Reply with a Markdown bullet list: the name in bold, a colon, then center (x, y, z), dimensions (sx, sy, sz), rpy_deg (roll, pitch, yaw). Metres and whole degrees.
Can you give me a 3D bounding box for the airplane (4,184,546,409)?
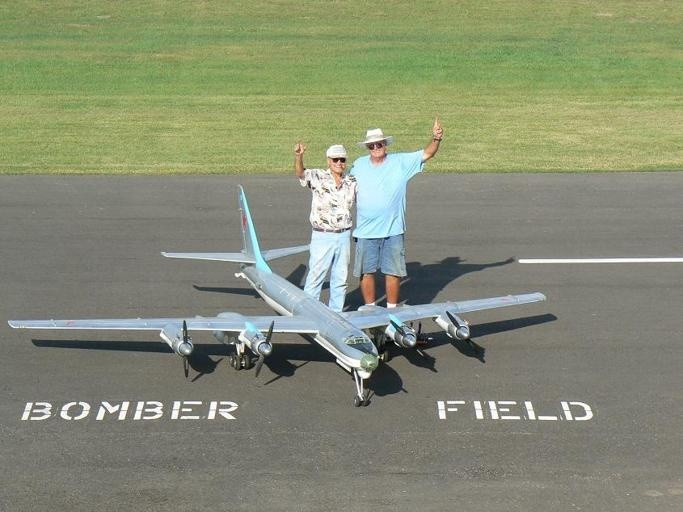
- **airplane**: center (-1.322, -0.215, 41.474), dimensions (16.350, 4.017, 12.795), rpy_deg (7, 26, 9)
